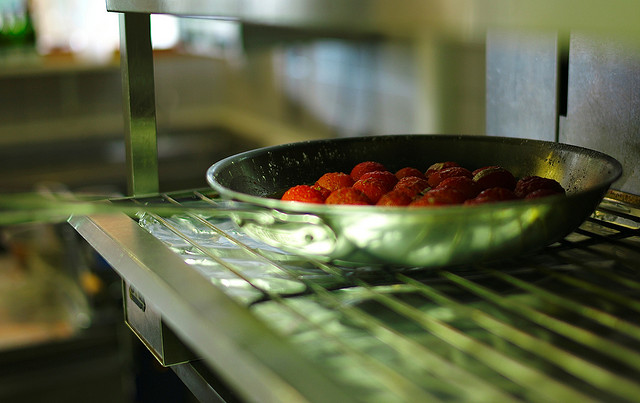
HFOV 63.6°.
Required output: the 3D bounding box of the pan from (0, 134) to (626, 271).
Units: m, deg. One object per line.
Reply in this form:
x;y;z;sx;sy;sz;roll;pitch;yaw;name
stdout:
-0.012;-0.011;0.615;0.564;0.070;0.322;-6;6;-23;pan
